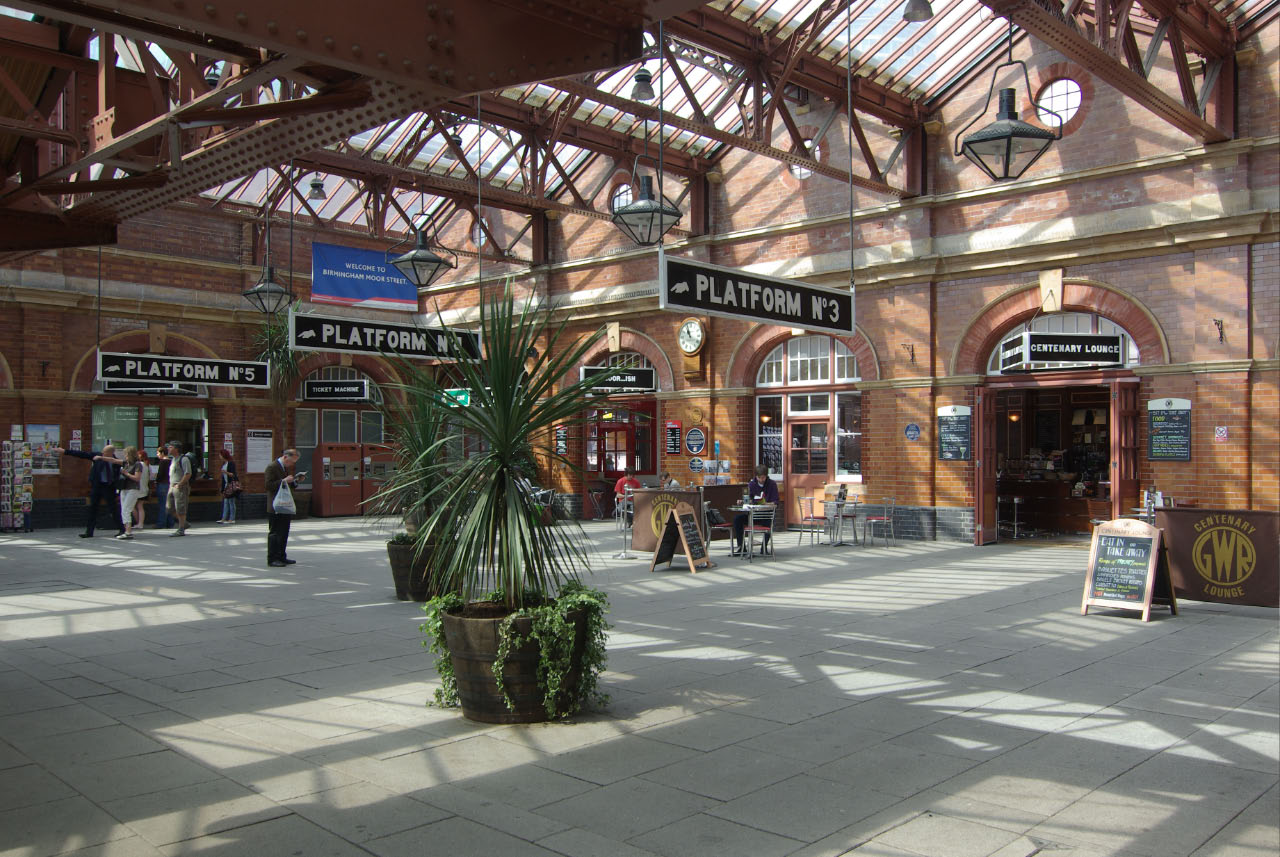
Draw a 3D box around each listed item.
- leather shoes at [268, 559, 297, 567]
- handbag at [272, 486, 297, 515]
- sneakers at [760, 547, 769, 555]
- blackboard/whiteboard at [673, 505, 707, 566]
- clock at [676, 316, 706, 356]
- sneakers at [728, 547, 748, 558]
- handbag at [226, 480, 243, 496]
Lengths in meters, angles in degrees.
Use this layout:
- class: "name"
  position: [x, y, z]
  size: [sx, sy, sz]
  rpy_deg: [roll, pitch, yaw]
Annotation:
- class: "leather shoes"
  position: [-6.267, 2.327, 17.156]
  size: [0.419, 0.170, 0.132]
  rpy_deg: [-6, -3, 14]
- class: "handbag"
  position: [-6.027, 1.185, 16.506]
  size: [0.339, 0.514, 0.466]
  rpy_deg: [0, -3, -20]
- class: "sneakers"
  position: [2.344, 2.246, 18.221]
  size: [0.161, 0.135, 0.383]
  rpy_deg: [-1, -3, 7]
- class: "blackboard/whiteboard"
  position: [0.869, 1.848, 16.839]
  size: [0.588, 1.044, 1.202]
  rpy_deg: [-1, -3, 3]
- class: "clock"
  position: [1.299, -2.236, 23.779]
  size: [0.843, 0.798, 0.815]
  rpy_deg: [8, -5, -15]
- class: "sneakers"
  position: [1.853, 2.285, 18.287]
  size: [0.200, 0.268, 0.196]
  rpy_deg: [-6, -6, 36]
- class: "handbag"
  position: [-10.699, 1.537, 25.766]
  size: [0.329, 0.438, 0.429]
  rpy_deg: [10, 7, -18]
